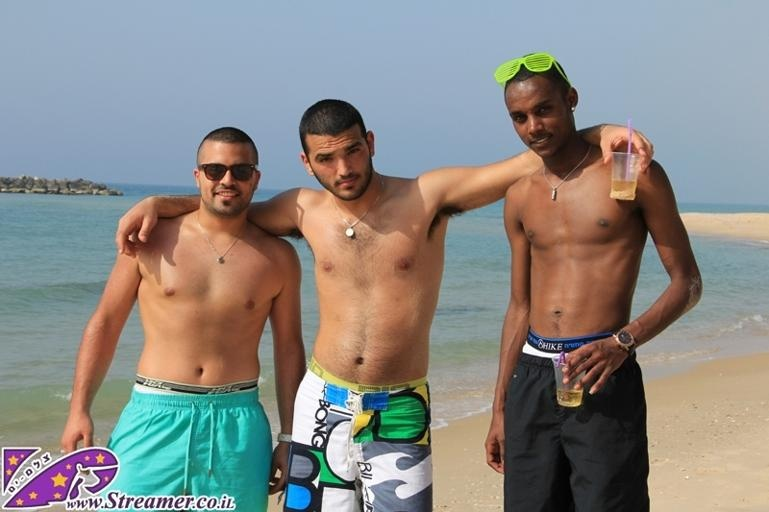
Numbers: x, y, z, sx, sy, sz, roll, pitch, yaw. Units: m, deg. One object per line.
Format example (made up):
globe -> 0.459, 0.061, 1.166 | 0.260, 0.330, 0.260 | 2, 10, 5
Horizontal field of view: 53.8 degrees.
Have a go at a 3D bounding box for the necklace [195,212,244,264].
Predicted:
necklace -> -1.318, -0.130, 5.996 | 0.405, 0.360, 0.109 | 7, -9, -11

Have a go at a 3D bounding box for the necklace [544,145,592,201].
necklace -> 1.361, -0.606, 5.687 | 0.327, 0.383, 0.091 | 23, 0, 43

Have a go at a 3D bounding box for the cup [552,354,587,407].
cup -> 1.317, 0.898, 5.434 | 0.214, 0.437, 0.314 | -1, 3, 12

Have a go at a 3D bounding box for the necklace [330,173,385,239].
necklace -> -0.258, -0.385, 5.945 | 0.257, 0.421, 0.077 | 7, -17, 15

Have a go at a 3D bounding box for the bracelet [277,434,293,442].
bracelet -> -0.809, 1.467, 6.101 | 0.097, 0.058, 0.095 | -3, -6, 15
